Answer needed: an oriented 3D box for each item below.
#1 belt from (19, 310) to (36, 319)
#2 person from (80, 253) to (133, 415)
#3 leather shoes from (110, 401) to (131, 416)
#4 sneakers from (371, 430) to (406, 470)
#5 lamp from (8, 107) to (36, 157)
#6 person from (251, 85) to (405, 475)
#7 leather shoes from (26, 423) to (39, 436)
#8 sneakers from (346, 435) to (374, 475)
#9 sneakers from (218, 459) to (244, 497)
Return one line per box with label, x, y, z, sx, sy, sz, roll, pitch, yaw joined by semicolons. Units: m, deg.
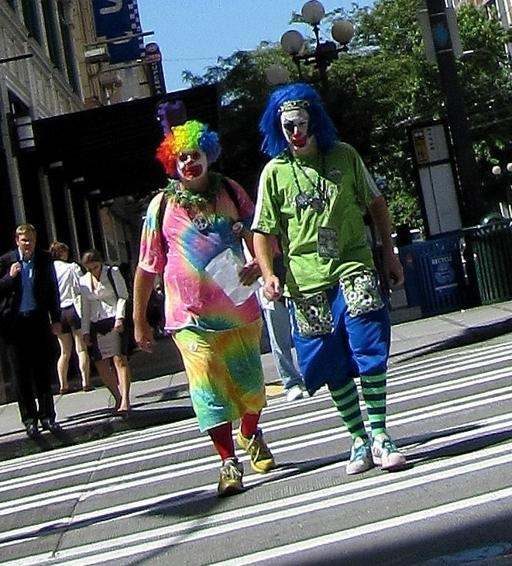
belt;-2.265;0.323;6.527;0.142;0.053;0.019;-12;-4;-8
person;-1.615;0.520;7.121;0.564;1.221;0.452;-12;-5;8
leather shoes;-1.421;1.356;6.887;0.194;0.072;0.662;-11;-4;-14
sneakers;0.573;0.736;2.895;0.144;0.148;0.229;-12;-4;6
lamp;-4.080;-2.686;11.524;0.328;0.845;0.696;-9;-5;-31
person;0.336;-0.082;3.063;0.657;1.559;0.450;-12;-5;2
leather shoes;-2.193;1.438;6.473;0.086;0.134;0.133;-3;-6;29
sneakers;0.463;0.787;2.954;0.070;0.093;0.216;-4;-2;17
sneakers;-0.120;0.920;3.065;0.073;0.085;0.203;0;7;5
